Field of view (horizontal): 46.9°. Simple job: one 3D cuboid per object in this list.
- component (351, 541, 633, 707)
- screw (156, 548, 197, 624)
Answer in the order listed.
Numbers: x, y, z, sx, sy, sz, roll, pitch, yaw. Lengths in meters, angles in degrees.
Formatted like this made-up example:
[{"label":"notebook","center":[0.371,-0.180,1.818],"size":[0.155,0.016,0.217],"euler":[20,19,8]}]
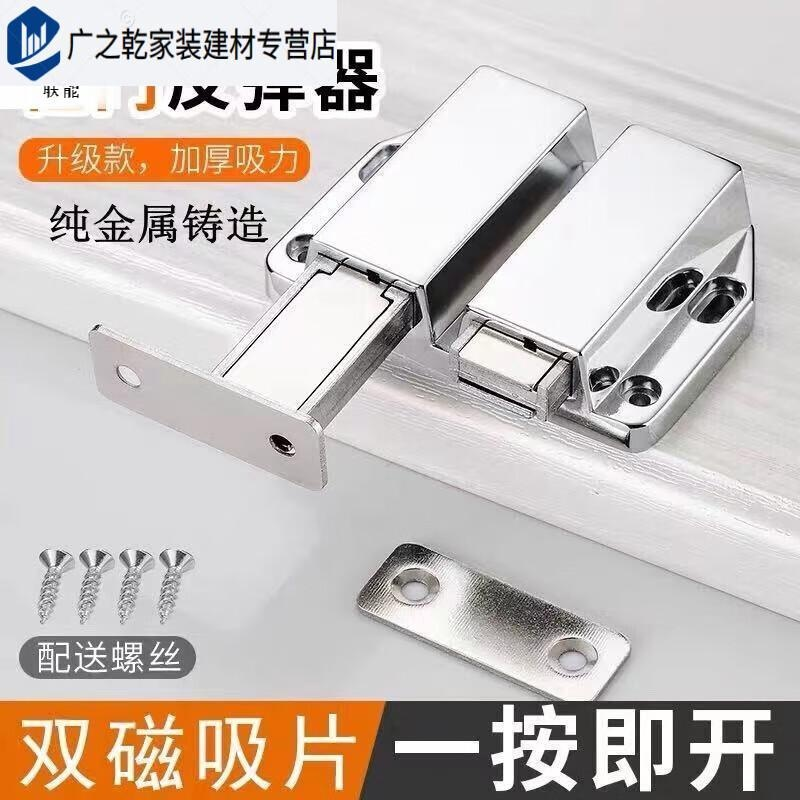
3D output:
[{"label":"component","center":[0.048,0.117,0.499],"size":[0.145,0.059,0.014],"euler":[23,-35,20]},{"label":"screw","center":[-0.132,0.103,0.521],"size":[0.021,0.044,0.017],"euler":[14,-30,3]}]
